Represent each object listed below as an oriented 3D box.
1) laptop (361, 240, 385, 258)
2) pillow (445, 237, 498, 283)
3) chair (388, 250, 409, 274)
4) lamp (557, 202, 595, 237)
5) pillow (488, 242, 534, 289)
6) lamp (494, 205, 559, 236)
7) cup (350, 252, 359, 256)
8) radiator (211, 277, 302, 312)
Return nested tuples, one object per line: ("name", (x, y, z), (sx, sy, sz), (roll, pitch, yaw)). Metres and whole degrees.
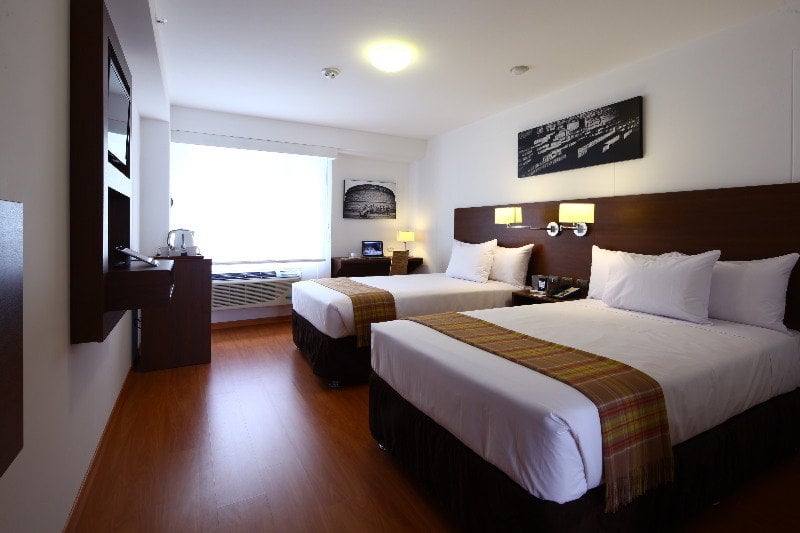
("laptop", (-0.398, -0.253, 7.653), (0.421, 0.241, 0.287), (-8, 14, -23))
("pillow", (0.868, -0.046, 6.052), (0.190, 0.368, 0.521), (5, -1, -34))
("chair", (-0.029, -0.029, 7.037), (0.259, 0.375, 0.339), (-3, 12, -3))
("lamp", (1.755, -0.423, 5.063), (0.334, 0.395, 0.335), (-2, 4, -41))
("pillow", (1.267, 0.022, 5.764), (0.185, 0.399, 0.468), (-7, 6, -32))
("lamp", (1.404, -0.486, 5.708), (0.567, 0.254, 0.314), (1, -1, -23))
("cup", (-0.668, -0.154, 7.476), (0.086, 0.065, 0.071), (1, 0, -18))
("radiator", (-1.918, 0.355, 6.709), (1.084, 0.429, 0.125), (-9, 14, -28))
